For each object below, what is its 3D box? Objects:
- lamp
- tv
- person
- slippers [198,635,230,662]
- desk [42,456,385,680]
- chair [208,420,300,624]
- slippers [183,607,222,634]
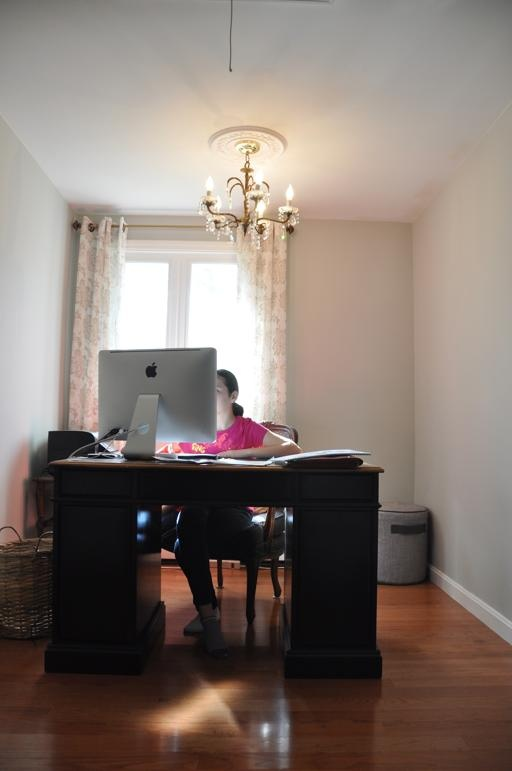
[{"bbox_3d":[-0.049,-1.048,3.470,0.550,0.513,0.538,2,0,-33],"label":"lamp"},{"bbox_3d":[-0.380,0.059,2.449,0.403,0.361,0.137,2,8,13],"label":"tv"},{"bbox_3d":[-0.185,0.493,2.801,0.638,1.175,0.662,-2,-11,-1],"label":"person"},{"bbox_3d":[-0.188,1.026,2.526,0.155,0.064,0.058,5,-9,32],"label":"slippers"},{"bbox_3d":[-0.149,0.602,2.558,1.174,0.804,0.622,1,12,-3],"label":"desk"},{"bbox_3d":[0.005,0.697,2.993,0.329,0.479,0.287,9,-18,-19],"label":"chair"},{"bbox_3d":[-0.236,0.998,2.749,0.081,0.103,0.249,-7,-14,17],"label":"slippers"}]
